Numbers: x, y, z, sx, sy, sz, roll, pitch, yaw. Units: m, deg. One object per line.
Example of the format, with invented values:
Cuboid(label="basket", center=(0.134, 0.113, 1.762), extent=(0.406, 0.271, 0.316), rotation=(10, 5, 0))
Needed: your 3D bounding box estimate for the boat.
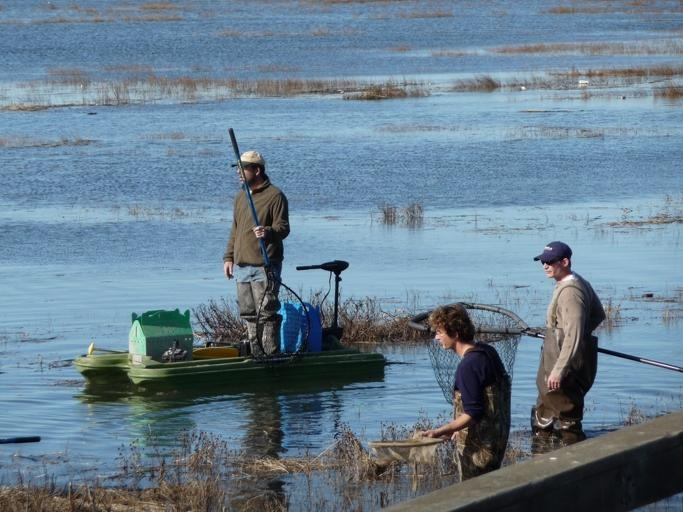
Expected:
Cuboid(label="boat", center=(-2.706, 2.020, 47.982), extent=(6.824, 2.943, 4.849), rotation=(-1, 4, -21))
